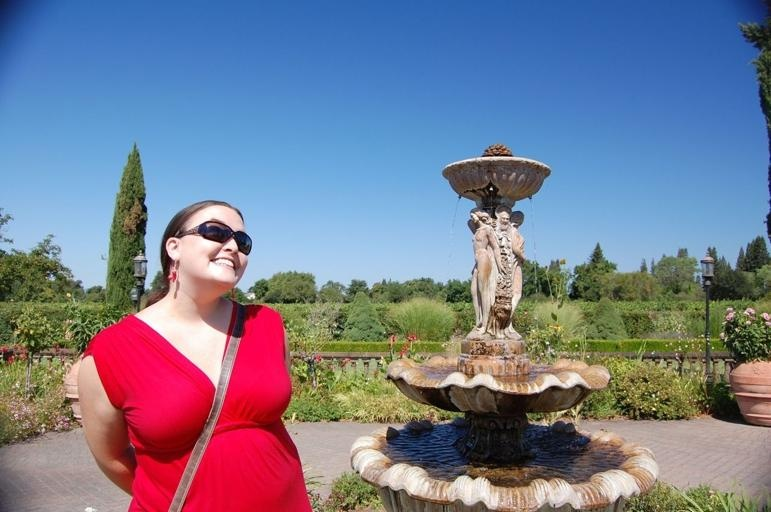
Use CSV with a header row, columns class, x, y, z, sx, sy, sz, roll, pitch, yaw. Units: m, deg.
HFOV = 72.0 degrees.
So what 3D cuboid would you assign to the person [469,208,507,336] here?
class,x,y,z,sx,sy,sz,roll,pitch,yaw
person,1.450,0.181,7.692,0.442,1.514,0.419,1,0,8
